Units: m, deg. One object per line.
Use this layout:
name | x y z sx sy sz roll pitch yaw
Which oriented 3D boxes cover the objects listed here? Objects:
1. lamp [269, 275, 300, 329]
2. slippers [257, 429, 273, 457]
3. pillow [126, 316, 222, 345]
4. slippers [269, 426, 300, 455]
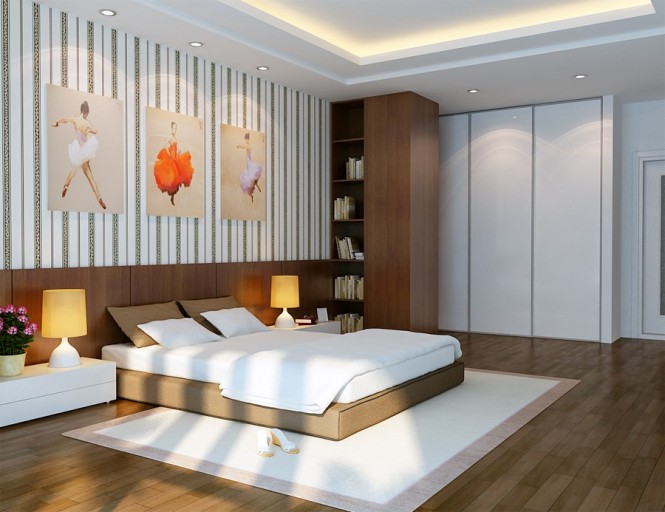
lamp | -0.540 0.533 5.605 0.369 0.591 0.357 6 -12 -36
slippers | -0.400 1.107 2.905 0.083 0.113 0.132 0 1 -10
pillow | -1.331 0.639 4.173 0.291 0.086 0.347 29 15 39
slippers | -0.292 1.126 2.984 0.081 0.075 0.199 -4 3 -43
